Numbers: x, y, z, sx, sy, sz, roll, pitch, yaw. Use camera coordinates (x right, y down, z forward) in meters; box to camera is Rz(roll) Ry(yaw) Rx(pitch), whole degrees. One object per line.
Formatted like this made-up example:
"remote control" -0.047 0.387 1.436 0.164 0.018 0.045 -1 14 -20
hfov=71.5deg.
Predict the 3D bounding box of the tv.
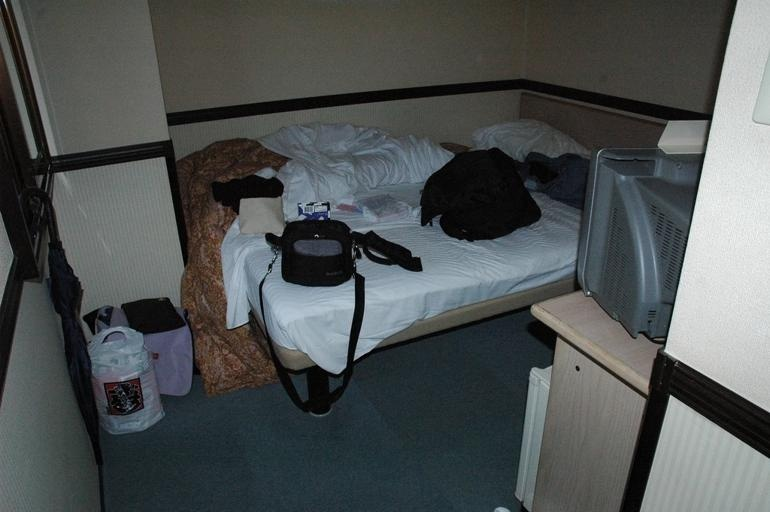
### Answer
"tv" 0.907 -0.050 1.996 0.368 0.646 0.341 11 27 26

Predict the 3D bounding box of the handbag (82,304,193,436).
"handbag" -1.462 0.643 3.190 0.588 0.776 0.397 -5 -16 -19
